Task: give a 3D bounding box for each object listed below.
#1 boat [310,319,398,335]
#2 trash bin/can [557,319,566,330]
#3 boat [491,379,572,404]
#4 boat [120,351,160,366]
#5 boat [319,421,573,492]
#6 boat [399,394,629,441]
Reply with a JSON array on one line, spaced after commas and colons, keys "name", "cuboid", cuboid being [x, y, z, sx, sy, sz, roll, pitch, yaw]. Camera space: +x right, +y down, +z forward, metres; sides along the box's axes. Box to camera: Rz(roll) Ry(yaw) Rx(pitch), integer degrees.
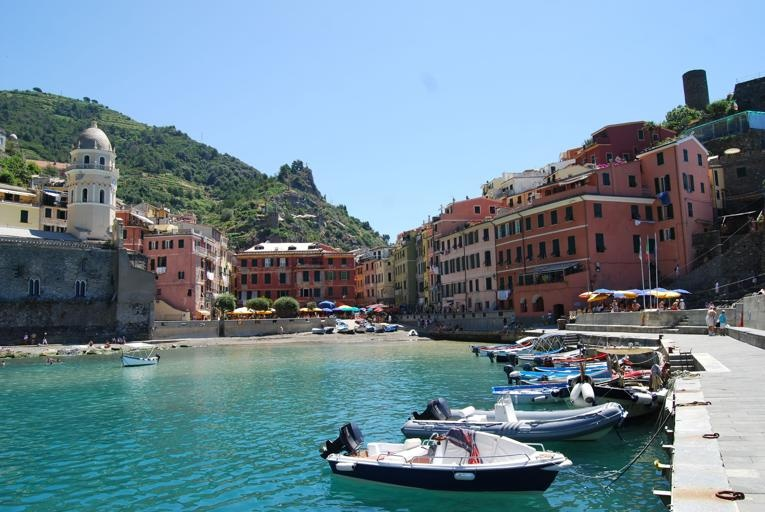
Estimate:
[{"name": "boat", "cuboid": [-3.814, 10.190, 91.066, 12.830, 2.373, 10.358, -1, -9, -4]}, {"name": "trash bin/can", "cuboid": [17.000, 6.455, 60.127, 0.869, 0.738, 0.897, -2, -13, 24]}, {"name": "boat", "cuboid": [9.120, 8.191, 38.058, 4.238, 1.028, 2.051, -12, 0, 40]}, {"name": "boat", "cuboid": [-22.175, 9.593, 57.853, 2.336, 1.144, 3.163, -4, -9, 20]}, {"name": "boat", "cuboid": [3.157, 9.915, 29.853, 12.407, 2.998, 3.919, -1, 3, 13]}, {"name": "boat", "cuboid": [7.189, 8.448, 32.805, 10.349, 2.440, 5.633, 0, 0, 5]}]
